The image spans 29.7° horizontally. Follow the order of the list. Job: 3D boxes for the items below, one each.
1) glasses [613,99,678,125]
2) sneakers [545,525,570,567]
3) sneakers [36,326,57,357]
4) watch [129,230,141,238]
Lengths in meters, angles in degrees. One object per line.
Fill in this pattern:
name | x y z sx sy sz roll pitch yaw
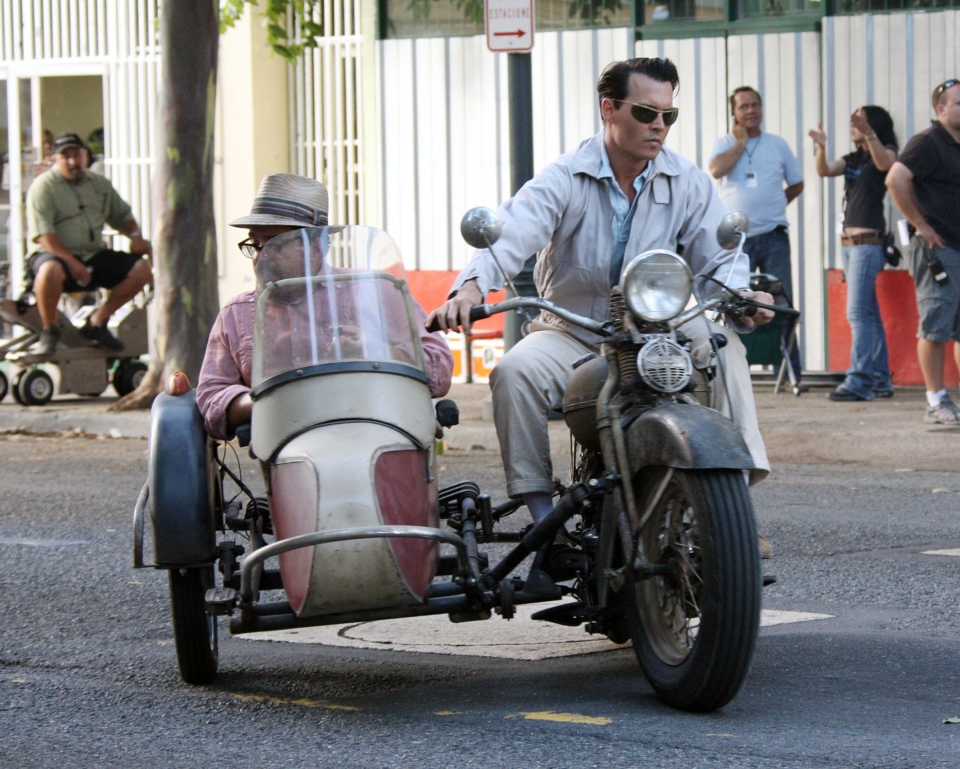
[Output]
glasses | 0.700 -1.103 7.504 0.276 0.106 0.123 -2 8 -7
sneakers | 0.300 0.616 6.924 0.079 0.144 0.035 24 -18 -6
sneakers | -3.647 -0.352 15.320 0.190 0.242 0.180 -3 8 -15
watch | -3.023 -1.287 15.921 0.072 0.023 0.075 2 30 -2
